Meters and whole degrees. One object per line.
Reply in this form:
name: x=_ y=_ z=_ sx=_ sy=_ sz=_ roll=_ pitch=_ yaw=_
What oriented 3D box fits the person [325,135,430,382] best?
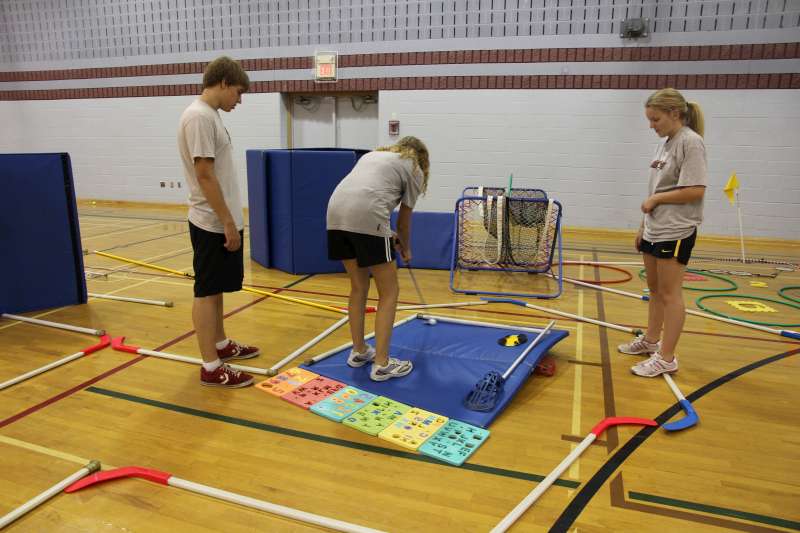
person: x=-0.104 y=-0.054 z=4.076 sx=0.642 sy=1.718 sz=0.643 roll=-18 pitch=28 yaw=-41

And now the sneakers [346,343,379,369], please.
sneakers: x=-0.289 y=0.719 z=4.286 sx=0.108 sy=0.106 sz=0.267 roll=7 pitch=14 yaw=31

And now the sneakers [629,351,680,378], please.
sneakers: x=1.986 y=0.791 z=4.316 sx=0.414 sy=0.168 sz=0.153 roll=-2 pitch=3 yaw=-4

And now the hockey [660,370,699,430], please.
hockey: x=2.027 y=0.974 z=4.041 sx=0.239 sy=0.048 sz=0.911 roll=-10 pitch=12 yaw=20

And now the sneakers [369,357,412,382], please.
sneakers: x=-0.059 y=0.787 z=4.144 sx=0.344 sy=0.133 sz=0.128 roll=-5 pitch=10 yaw=-26

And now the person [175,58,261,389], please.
person: x=-1.312 y=-0.304 z=3.964 sx=0.542 sy=2.312 sz=0.786 roll=-4 pitch=21 yaw=-12

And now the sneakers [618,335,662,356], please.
sneakers: x=1.966 y=0.672 z=4.571 sx=0.389 sy=0.167 sz=0.134 roll=-1 pitch=7 yaw=8

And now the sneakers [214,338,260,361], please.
sneakers: x=-1.319 y=0.684 z=4.424 sx=0.352 sy=0.134 sz=0.124 roll=-1 pitch=7 yaw=-24

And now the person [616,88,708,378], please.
person: x=2.039 y=-0.238 z=4.155 sx=0.529 sy=2.129 sz=0.705 roll=3 pitch=21 yaw=7

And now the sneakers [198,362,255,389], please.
sneakers: x=-1.280 y=0.831 z=4.088 sx=0.425 sy=0.149 sz=0.158 roll=1 pitch=3 yaw=-11
